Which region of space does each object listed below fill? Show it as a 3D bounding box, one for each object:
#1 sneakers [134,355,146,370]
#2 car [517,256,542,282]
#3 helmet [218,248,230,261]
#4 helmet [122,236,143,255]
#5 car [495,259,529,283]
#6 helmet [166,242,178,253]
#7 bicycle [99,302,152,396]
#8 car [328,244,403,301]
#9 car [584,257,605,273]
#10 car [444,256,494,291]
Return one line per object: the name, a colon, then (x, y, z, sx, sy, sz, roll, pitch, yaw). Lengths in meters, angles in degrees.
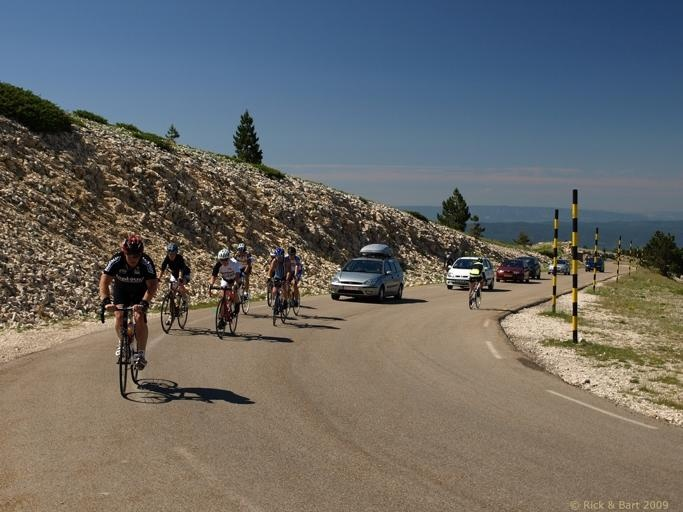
sneakers: (-3.755, 1.934, 12.366, 0.107, 0.171, 0.349, -1, -10, -6)
car: (13.553, 0.690, 47.294, 1.319, 1.316, 3.354, -1, -4, 15)
helmet: (-3.079, -0.061, 17.357, 0.279, 0.204, 0.483, 1, 8, -7)
helmet: (-3.725, -0.299, 11.863, 0.287, 0.488, 0.237, 4, -16, -27)
car: (10.992, 0.935, 42.802, 1.675, 1.299, 2.298, 7, 9, 38)
helmet: (-5.485, -0.321, 21.338, 0.392, 0.247, 0.613, 6, 20, -12)
bicycle: (-3.943, 1.552, 12.150, 0.753, 1.707, 1.182, 0, 7, -10)
car: (1.168, 0.683, 28.475, 2.058, 2.435, 4.633, 1, 0, 22)
car: (24.047, 0.763, 63.374, 1.274, 1.168, 2.890, 0, -2, 23)
car: (6.546, 0.704, 34.653, 1.604, 1.467, 2.775, -1, -5, 24)
